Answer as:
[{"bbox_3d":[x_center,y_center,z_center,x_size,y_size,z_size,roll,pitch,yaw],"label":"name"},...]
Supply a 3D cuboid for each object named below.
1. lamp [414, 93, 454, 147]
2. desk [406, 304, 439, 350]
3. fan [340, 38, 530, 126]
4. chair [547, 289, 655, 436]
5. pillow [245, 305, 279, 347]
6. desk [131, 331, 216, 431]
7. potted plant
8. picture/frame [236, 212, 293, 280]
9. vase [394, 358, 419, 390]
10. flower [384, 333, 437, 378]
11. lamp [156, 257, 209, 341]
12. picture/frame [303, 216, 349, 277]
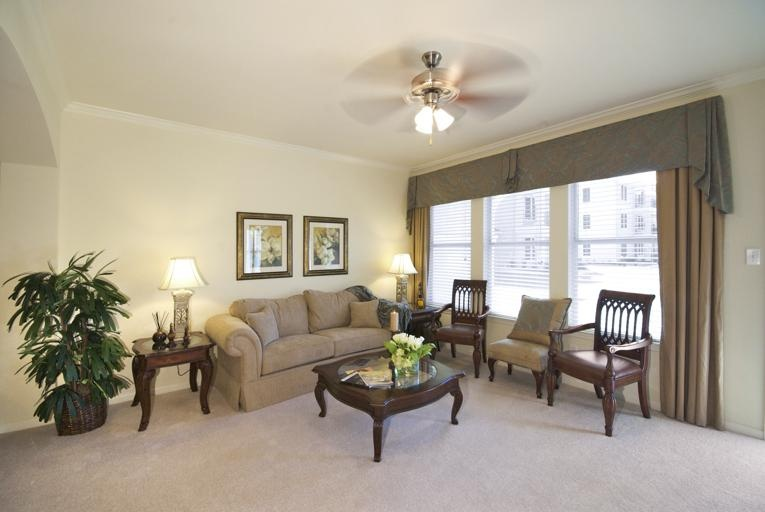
[{"bbox_3d":[0.590,-1.479,5.305,0.444,0.498,0.406,5,-33,-5],"label":"lamp"},{"bbox_3d":[0.455,0.984,7.617,0.389,0.455,0.564,-25,11,-30],"label":"desk"},{"bbox_3d":[0.576,-1.631,5.316,1.963,0.767,1.070,-1,-1,5],"label":"fan"},{"bbox_3d":[2.473,1.142,5.831,1.068,1.257,0.965,-2,-1,45],"label":"chair"},{"bbox_3d":[-1.478,0.859,6.249,0.298,0.495,0.518,-1,-1,16],"label":"pillow"},{"bbox_3d":[-2.350,1.386,5.711,0.845,1.097,0.428,-1,0,-27],"label":"desk"},{"bbox_3d":[-3.199,0.945,5.251,0.993,2.082,0.491,-1,0,-28],"label":"potted plant"},{"bbox_3d":[-1.620,-0.139,6.782,0.914,1.080,0.073,1,-2,-35],"label":"picture/frame"},{"bbox_3d":[0.257,1.273,5.378,0.221,0.182,0.248,0,-10,-1],"label":"vase"},{"bbox_3d":[0.281,1.091,5.639,0.464,0.326,0.475,0,-10,2],"label":"flower"},{"bbox_3d":[-2.388,0.487,5.996,0.472,1.021,0.561,-1,0,-41],"label":"lamp"},{"bbox_3d":[-0.854,-0.147,7.315,0.873,1.018,0.075,1,-1,-40],"label":"picture/frame"}]
